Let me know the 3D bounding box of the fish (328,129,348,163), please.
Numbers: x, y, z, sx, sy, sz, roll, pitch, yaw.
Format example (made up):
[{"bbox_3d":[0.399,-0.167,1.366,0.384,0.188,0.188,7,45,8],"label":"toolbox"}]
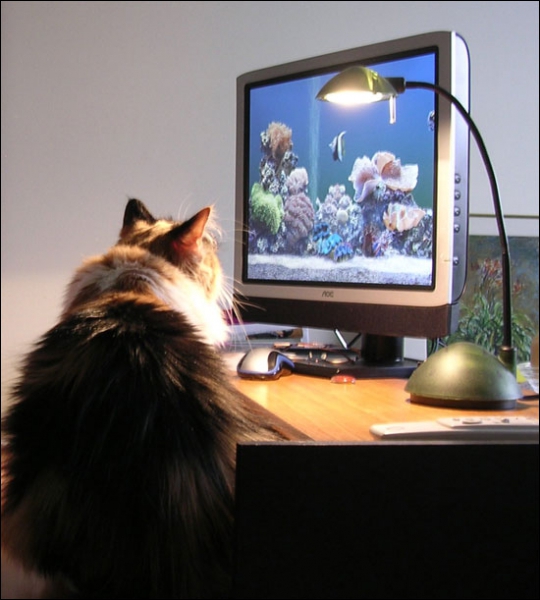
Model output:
[{"bbox_3d":[0.120,-0.270,1.029,0.020,0.056,0.039,8,-19,-22],"label":"fish"}]

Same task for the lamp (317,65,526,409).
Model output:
[{"bbox_3d":[0.224,-0.097,0.851,0.277,0.532,0.208,4,-16,3],"label":"lamp"}]
